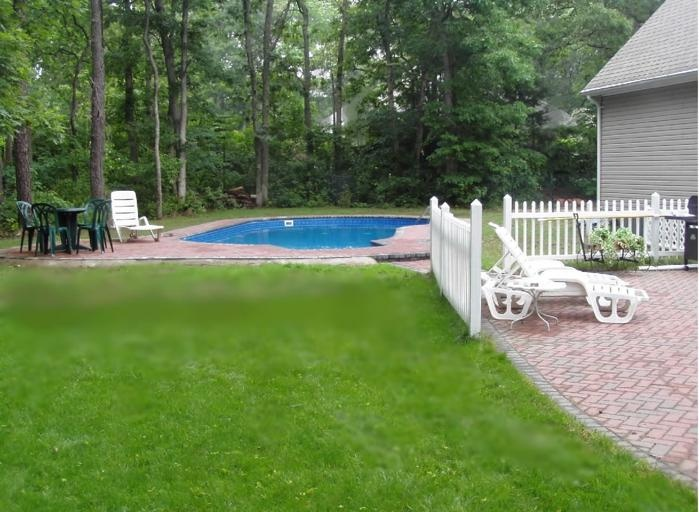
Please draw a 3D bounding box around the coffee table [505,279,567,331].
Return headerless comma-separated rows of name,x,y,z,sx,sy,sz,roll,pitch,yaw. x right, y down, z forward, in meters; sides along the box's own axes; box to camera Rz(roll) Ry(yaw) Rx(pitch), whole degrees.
coffee table,2.676,0.658,9.668,0.674,0.567,0.719,-1,0,-9
